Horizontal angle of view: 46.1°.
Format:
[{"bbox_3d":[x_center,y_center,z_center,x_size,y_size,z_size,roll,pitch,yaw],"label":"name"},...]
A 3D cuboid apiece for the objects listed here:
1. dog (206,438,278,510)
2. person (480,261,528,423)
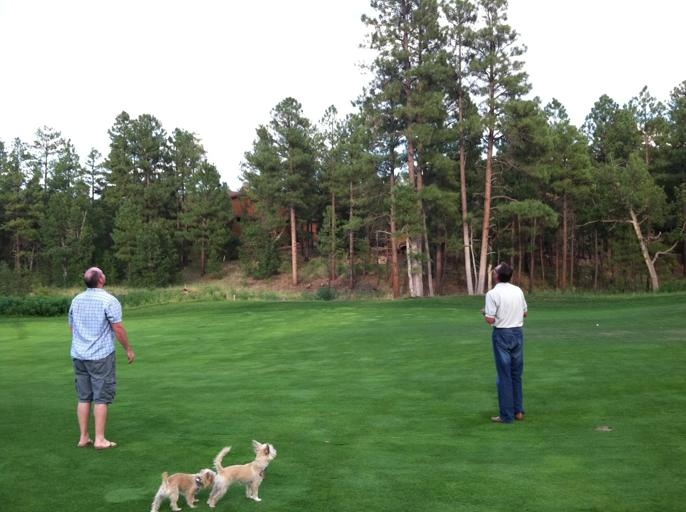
[{"bbox_3d":[-2.154,4.651,17.108,1.872,1.699,0.835,-6,1,-12],"label":"dog"},{"bbox_3d":[3.952,2.116,19.569,0.964,3.710,1.185,1,13,11],"label":"person"}]
